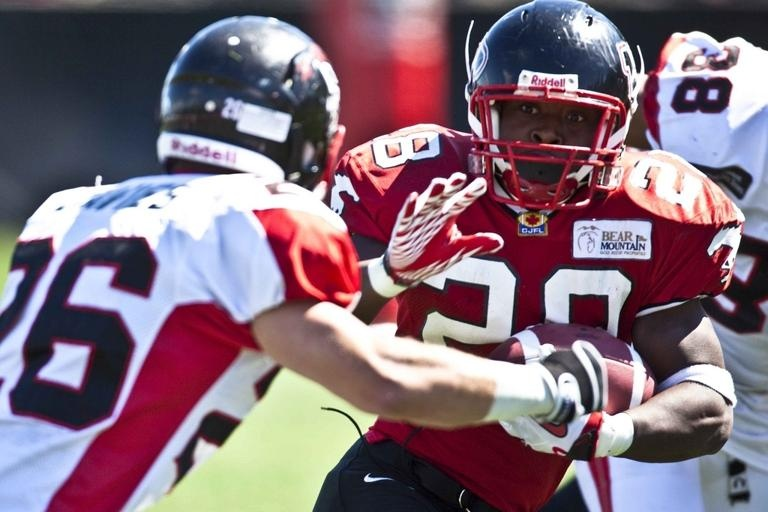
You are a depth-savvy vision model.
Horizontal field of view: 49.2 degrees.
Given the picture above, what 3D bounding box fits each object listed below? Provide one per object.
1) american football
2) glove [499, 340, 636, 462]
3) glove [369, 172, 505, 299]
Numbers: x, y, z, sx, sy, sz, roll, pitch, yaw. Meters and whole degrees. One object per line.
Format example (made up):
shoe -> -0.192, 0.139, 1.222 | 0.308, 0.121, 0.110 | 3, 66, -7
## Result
american football -> 0.645, 0.337, 2.851 | 0.465, 0.303, 0.280 | 20, 16, 16
glove -> 0.620, 0.463, 2.723 | 0.437, 0.370, 0.347 | 5, 2, 8
glove -> 0.151, -0.021, 2.694 | 0.318, 0.141, 0.461 | 30, 70, 29
